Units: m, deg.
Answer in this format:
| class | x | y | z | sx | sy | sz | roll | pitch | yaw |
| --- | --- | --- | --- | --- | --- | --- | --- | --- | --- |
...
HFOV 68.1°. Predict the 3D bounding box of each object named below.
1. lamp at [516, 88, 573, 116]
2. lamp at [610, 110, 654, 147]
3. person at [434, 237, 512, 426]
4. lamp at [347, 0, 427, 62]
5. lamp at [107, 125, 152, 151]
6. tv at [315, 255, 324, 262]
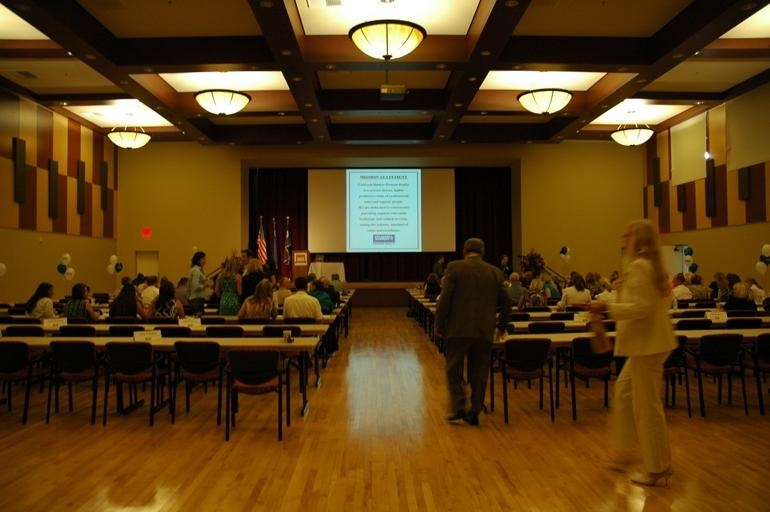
| class | x | y | z | sx | sy | sz | roll | pitch | yaw |
| --- | --- | --- | --- | --- | --- | --- | --- | --- | --- |
| lamp | 3.846 | -3.799 | 13.873 | 1.217 | 0.578 | 0.606 | 2 | 11 | 13 |
| lamp | 7.511 | -3.970 | 17.411 | 1.086 | 1.184 | 1.104 | -3 | -4 | 44 |
| person | 1.219 | 1.106 | 8.212 | 1.045 | 2.598 | 0.650 | -1 | 11 | -2 |
| lamp | 0.030 | -4.006 | 10.677 | 1.266 | 0.950 | 1.273 | 0 | -1 | -11 |
| lamp | -7.372 | -3.319 | 16.412 | 1.331 | 0.862 | 1.326 | -1 | 4 | -32 |
| tv | -2.492 | 0.067 | 21.378 | 0.269 | 0.262 | 0.263 | 0 | -5 | 0 |
